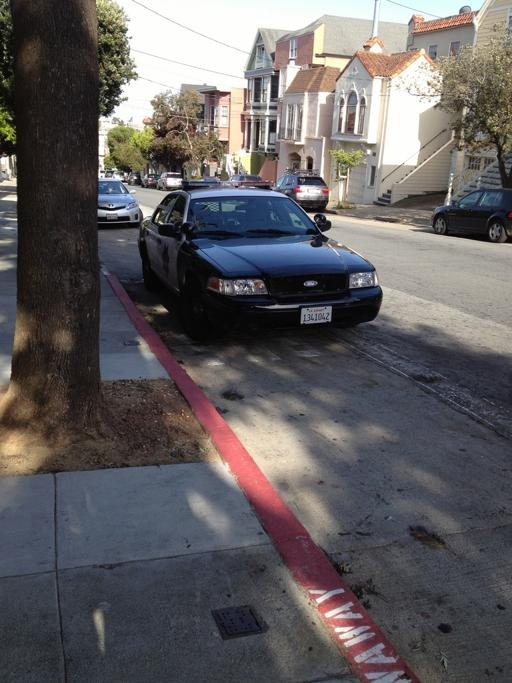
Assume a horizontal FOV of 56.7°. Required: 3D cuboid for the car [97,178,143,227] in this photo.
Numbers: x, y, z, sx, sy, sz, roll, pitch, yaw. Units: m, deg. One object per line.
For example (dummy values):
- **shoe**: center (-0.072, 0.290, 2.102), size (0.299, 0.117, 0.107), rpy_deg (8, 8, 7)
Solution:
- **car**: center (-5.370, -5.438, 18.659), size (1.499, 1.772, 1.889), rpy_deg (2, 8, -19)
